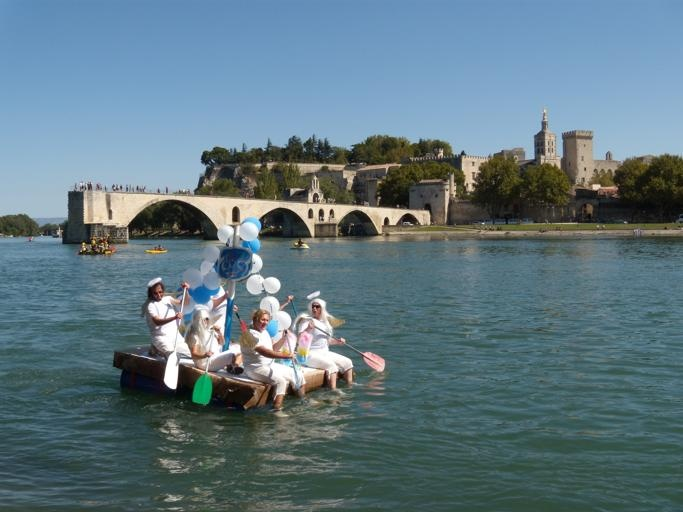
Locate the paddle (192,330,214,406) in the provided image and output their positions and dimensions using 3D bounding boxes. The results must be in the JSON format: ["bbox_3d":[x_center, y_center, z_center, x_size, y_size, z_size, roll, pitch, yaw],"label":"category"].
[{"bbox_3d":[-2.795,2.513,17.155,0.417,0.979,0.490,-2,2,-11],"label":"paddle"}]

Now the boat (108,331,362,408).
[{"bbox_3d":[-1.995,2.779,19.512,5.680,0.901,5.271,3,3,-31],"label":"boat"}]

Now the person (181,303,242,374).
[{"bbox_3d":[-2.672,1.649,17.629,1.128,1.323,0.862,-3,4,-29],"label":"person"}]

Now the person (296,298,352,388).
[{"bbox_3d":[-0.326,1.913,18.541,1.101,1.885,1.287,5,9,34],"label":"person"}]

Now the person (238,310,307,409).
[{"bbox_3d":[-1.381,2.039,17.303,0.887,1.973,1.192,0,3,27],"label":"person"}]

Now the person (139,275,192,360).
[{"bbox_3d":[-3.639,1.267,17.878,1.004,1.625,0.901,-11,11,-40],"label":"person"}]
